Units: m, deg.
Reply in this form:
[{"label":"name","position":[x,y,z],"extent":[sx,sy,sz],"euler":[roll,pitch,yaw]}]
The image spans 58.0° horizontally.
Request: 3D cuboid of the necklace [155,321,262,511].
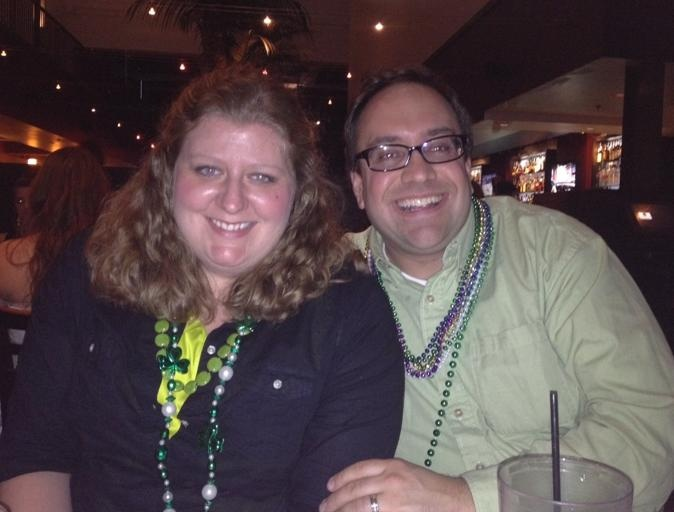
[{"label":"necklace","position":[-0.520,0.609,2.375],"extent":[0.390,0.713,0.194],"euler":[1,-3,-14]}]
